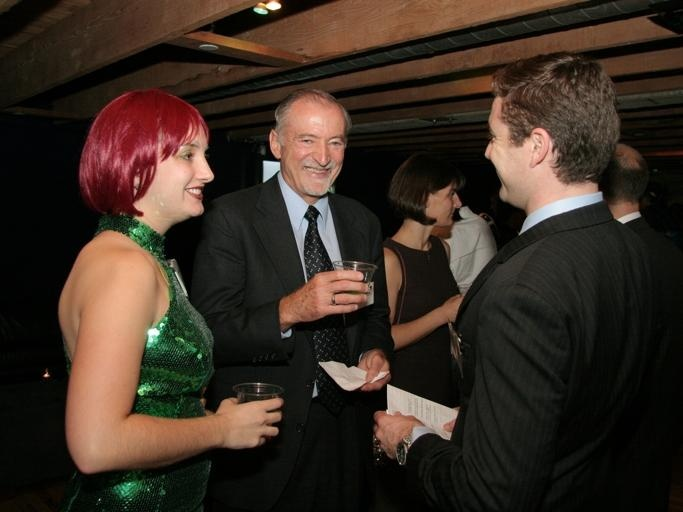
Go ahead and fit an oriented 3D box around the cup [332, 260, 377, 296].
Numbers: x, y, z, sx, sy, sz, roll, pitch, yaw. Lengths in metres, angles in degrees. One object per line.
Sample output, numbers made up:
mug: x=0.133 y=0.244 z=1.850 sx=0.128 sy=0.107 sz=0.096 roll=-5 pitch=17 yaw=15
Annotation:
cup: x=0.061 y=0.096 z=2.158 sx=0.147 sy=0.112 sz=0.153 roll=2 pitch=-5 yaw=0
